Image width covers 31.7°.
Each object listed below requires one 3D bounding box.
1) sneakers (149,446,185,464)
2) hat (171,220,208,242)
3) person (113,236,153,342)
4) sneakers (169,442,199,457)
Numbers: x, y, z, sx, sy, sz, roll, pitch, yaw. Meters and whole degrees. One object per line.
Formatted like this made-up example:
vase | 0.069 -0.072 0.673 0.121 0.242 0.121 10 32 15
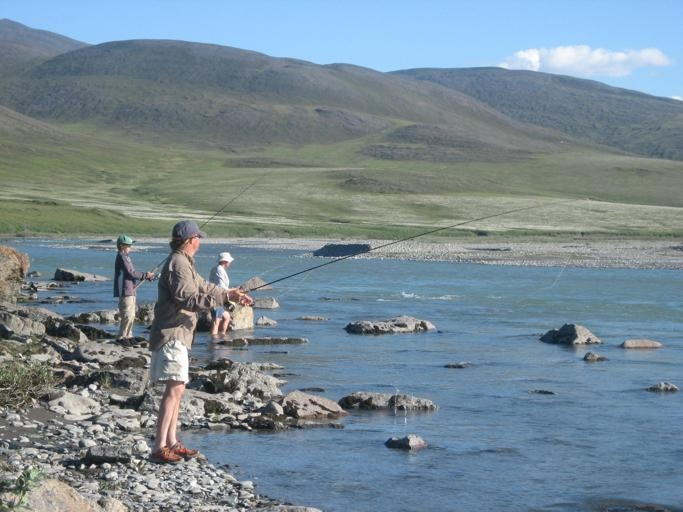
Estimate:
sneakers | -2.662 3.011 18.154 0.530 0.142 0.205 0 -2 2
hat | -2.398 -0.384 18.579 0.409 0.189 0.505 6 11 37
person | -4.338 0.619 24.657 0.721 2.110 1.047 4 -6 -9
sneakers | -2.449 2.966 18.404 0.560 0.146 0.173 3 3 -2
